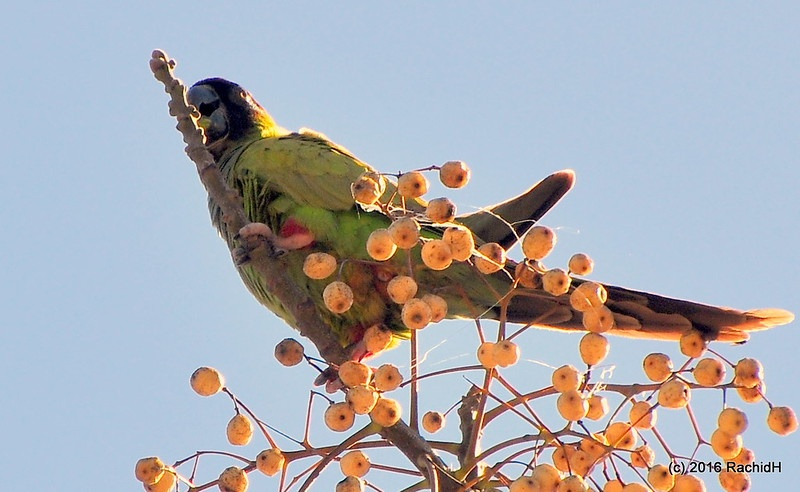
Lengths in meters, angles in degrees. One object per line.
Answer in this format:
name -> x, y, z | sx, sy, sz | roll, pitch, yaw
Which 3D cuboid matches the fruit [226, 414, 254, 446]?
fruit -> -0.748, 0.842, 7.691 | 0.119, 0.154, 0.133 | 10, -23, -42
